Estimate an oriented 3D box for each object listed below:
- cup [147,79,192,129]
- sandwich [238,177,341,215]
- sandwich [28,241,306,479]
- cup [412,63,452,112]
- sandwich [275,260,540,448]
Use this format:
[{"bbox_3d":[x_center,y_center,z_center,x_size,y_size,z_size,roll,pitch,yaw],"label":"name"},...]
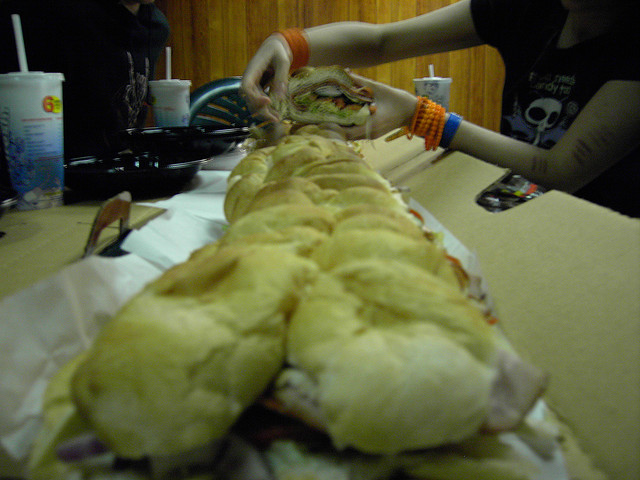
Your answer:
[{"bbox_3d":[-0.375,-0.341,1.096,0.101,0.119,0.208,-8,26,-19],"label":"cup"},{"bbox_3d":[-0.027,-0.040,0.333,0.053,0.017,0.058,-8,18,-31],"label":"sandwich"},{"bbox_3d":[-0.077,0.074,0.264,0.076,0.049,0.147,42,74,9],"label":"sandwich"},{"bbox_3d":[0.369,-0.485,1.426,0.115,0.165,0.114,-2,16,1],"label":"cup"},{"bbox_3d":[0.043,0.054,0.224,0.128,0.073,0.069,3,24,3],"label":"sandwich"}]
